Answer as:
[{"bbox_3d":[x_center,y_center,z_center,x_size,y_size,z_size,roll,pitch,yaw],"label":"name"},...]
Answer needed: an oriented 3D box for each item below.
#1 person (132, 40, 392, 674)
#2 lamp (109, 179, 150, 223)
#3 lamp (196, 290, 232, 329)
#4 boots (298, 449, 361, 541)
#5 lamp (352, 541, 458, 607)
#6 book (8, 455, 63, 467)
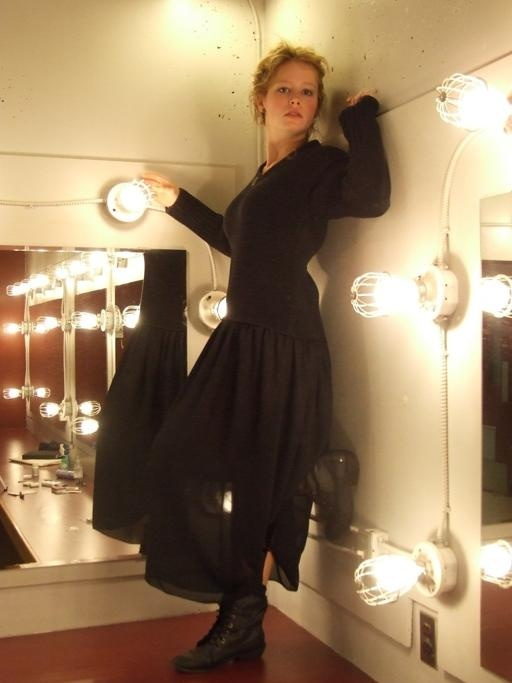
[{"bbox_3d":[0.012,0.005,1.620,0.756,1.588,0.362,-4,-6,26],"label":"person"},{"bbox_3d":[-0.381,-0.408,1.903,0.131,0.124,0.059,23,6,19],"label":"lamp"},{"bbox_3d":[-0.144,-0.088,1.969,0.104,0.123,0.050,5,-7,7],"label":"lamp"},{"bbox_3d":[0.187,0.378,1.584,0.102,0.255,0.139,-29,50,-20],"label":"boots"},{"bbox_3d":[0.287,0.457,1.247,0.203,0.102,0.107,-5,4,-4],"label":"lamp"},{"bbox_3d":[-0.640,0.350,1.821,0.138,0.031,0.014,0,-6,-13],"label":"book"}]
